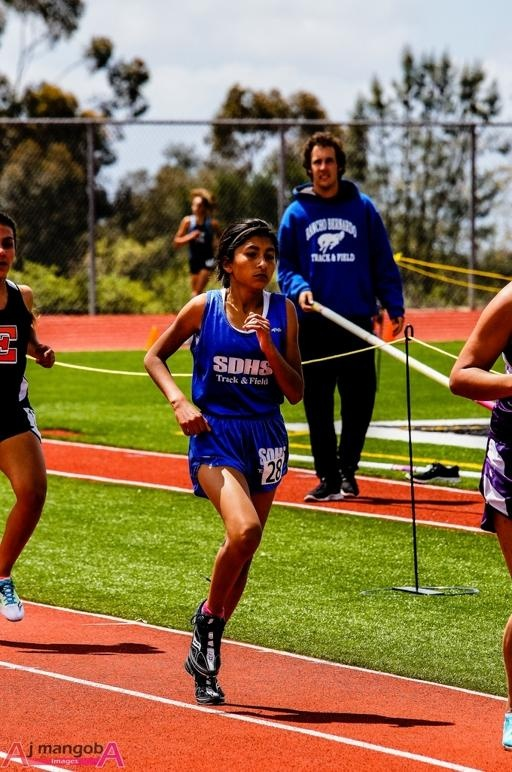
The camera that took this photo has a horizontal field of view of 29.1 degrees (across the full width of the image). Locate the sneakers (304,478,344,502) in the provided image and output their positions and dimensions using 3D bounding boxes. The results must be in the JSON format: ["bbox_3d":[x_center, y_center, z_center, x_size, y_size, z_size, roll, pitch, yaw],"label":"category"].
[{"bbox_3d":[0.429,0.686,6.337,0.271,0.111,0.111,4,-6,-31],"label":"sneakers"}]

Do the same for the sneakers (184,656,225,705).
[{"bbox_3d":[-0.145,0.851,2.820,0.112,0.119,0.118,0,3,-4],"label":"sneakers"}]

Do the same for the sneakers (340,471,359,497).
[{"bbox_3d":[0.602,0.648,6.446,0.072,0.088,0.204,-2,-32,9],"label":"sneakers"}]

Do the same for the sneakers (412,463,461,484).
[{"bbox_3d":[1.301,0.638,7.138,0.380,0.145,0.129,2,-1,-3],"label":"sneakers"}]

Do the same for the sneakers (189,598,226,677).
[{"bbox_3d":[-0.151,0.727,2.856,0.077,0.220,0.100,8,-44,-22],"label":"sneakers"}]

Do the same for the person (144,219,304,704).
[{"bbox_3d":[-0.124,0.200,2.952,0.443,1.394,0.516,1,4,15],"label":"person"}]
